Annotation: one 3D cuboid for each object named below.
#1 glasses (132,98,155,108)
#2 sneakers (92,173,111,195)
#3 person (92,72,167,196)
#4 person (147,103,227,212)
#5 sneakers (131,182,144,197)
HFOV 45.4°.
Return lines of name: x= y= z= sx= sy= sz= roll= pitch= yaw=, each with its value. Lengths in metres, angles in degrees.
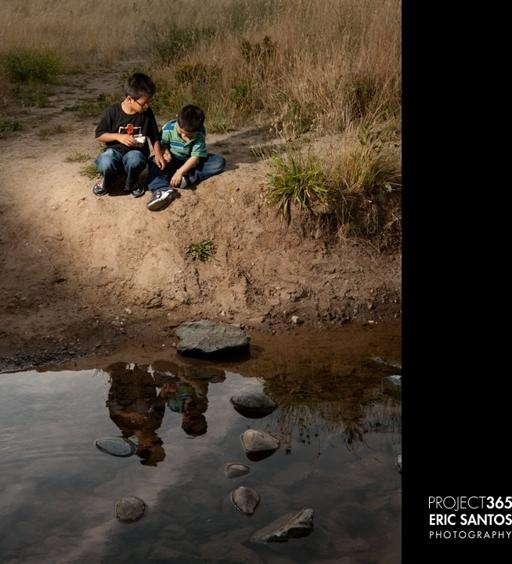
glasses: x=-1.149 y=-1.848 z=6.356 sx=0.180 sy=0.099 sz=0.248 roll=1 pitch=13 yaw=20
sneakers: x=-1.725 y=-1.088 z=6.883 sx=0.313 sy=0.105 sz=0.140 roll=-38 pitch=-14 yaw=24
person: x=-1.372 y=-1.548 z=6.671 sx=0.942 sy=1.277 sz=0.543 roll=3 pitch=14 yaw=27
person: x=-0.783 y=-1.443 z=6.779 sx=0.829 sy=0.951 sz=1.089 roll=11 pitch=46 yaw=5
sneakers: x=-1.325 y=-1.011 z=6.851 sx=0.096 sy=0.117 sz=0.181 roll=-2 pitch=8 yaw=-7
